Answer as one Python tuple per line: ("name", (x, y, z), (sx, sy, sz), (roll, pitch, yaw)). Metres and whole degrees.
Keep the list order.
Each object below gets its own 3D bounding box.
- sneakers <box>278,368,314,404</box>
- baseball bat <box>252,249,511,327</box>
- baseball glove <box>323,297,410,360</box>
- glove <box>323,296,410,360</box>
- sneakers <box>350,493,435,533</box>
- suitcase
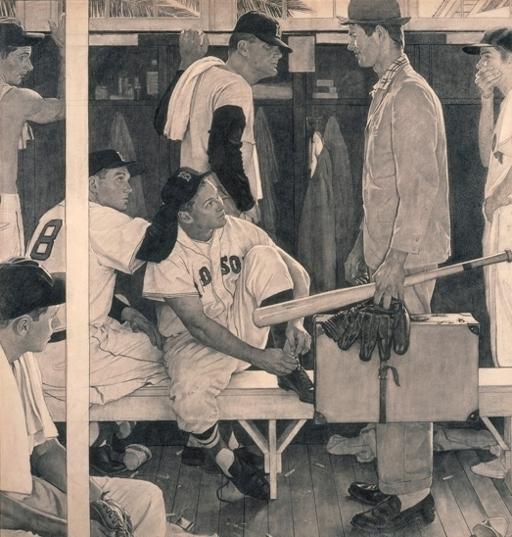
("sneakers", (0.229, 0.621, 6.657), (0.263, 0.148, 0.099), (16, 5, 12))
("baseball bat", (0.603, 0.094, 6.659), (1.000, 0.102, 0.118), (-15, 16, 3))
("baseball glove", (0.579, 0.317, 6.674), (0.442, 0.216, 0.405), (7, 35, 11))
("glove", (0.585, 0.340, 6.522), (0.349, 0.342, 0.167), (-2, 0, -1))
("sneakers", (0.744, 1.335, 6.807), (0.502, 0.274, 0.190), (-3, 2, -5))
("suitcase", (0.746, 0.364, 6.808), (0.903, 0.731, 0.621), (-1, 39, 5))
